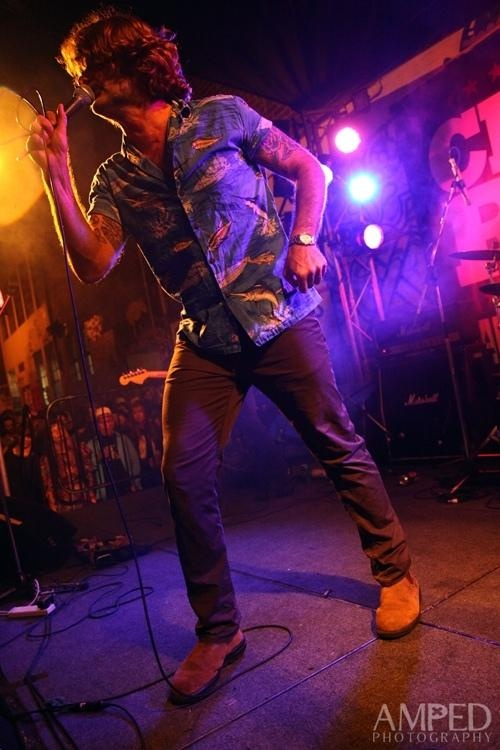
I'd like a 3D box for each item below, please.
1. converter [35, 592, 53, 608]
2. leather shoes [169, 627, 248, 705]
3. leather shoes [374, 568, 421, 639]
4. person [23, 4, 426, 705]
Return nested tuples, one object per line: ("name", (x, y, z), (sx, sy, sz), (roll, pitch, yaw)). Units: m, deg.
("converter", (-0.990, 1.079, 2.778), (0.028, 0.048, 0.051), (-16, -7, 8))
("leather shoes", (-0.134, 0.844, 1.710), (0.107, 0.160, 0.298), (-14, -3, 28))
("leather shoes", (0.443, 0.688, 1.752), (0.110, 0.172, 0.231), (-14, -3, 27))
("person", (-0.118, -0.220, 1.772), (0.857, 1.974, 0.368), (-13, -3, 4))
